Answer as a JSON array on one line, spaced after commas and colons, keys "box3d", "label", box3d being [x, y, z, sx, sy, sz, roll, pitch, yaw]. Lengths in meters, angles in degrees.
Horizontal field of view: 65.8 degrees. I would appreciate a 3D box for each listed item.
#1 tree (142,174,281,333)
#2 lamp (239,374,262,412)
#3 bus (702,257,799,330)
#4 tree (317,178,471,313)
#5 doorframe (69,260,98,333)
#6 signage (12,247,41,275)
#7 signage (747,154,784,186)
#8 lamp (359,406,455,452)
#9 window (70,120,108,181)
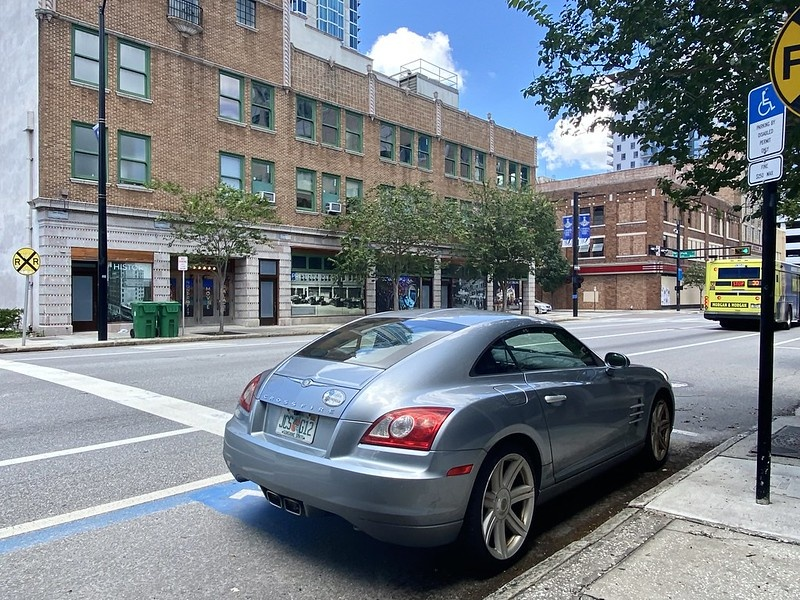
[{"box3d": [-7.611, -1.829, 25.091, 4.281, 5.996, 4.605, -1, 4, -22], "label": "tree"}, {"box3d": [-1.321, 0.841, 5.524, 0.175, 0.340, 0.088, 1, -10, 44], "label": "lamp"}, {"box3d": [13.647, -0.201, 24.049, 2.733, 3.462, 8.652, 0, 0, 42], "label": "bus"}, {"box3d": [0.143, -2.507, 31.900, 5.728, 5.647, 5.784, 12, 0, -21], "label": "tree"}, {"box3d": [-11.880, -0.136, 23.157, 0.858, 2.587, 0.364, -2, 4, -34], "label": "doorframe"}, {"box3d": [-11.187, -1.139, 18.402, 0.542, 0.802, 0.844, -2, 5, -42], "label": "signage"}, {"box3d": [3.330, -1.185, 5.609, 0.039, 0.256, 0.294, 5, -10, -20], "label": "signage"}, {"box3d": [0.045, 0.962, 4.659, 0.660, 0.286, 0.174, 1, 4, 9], "label": "lamp"}, {"box3d": [-11.903, -5.556, 23.221, 0.877, 2.131, 0.543, -2, 4, -33], "label": "window"}]
